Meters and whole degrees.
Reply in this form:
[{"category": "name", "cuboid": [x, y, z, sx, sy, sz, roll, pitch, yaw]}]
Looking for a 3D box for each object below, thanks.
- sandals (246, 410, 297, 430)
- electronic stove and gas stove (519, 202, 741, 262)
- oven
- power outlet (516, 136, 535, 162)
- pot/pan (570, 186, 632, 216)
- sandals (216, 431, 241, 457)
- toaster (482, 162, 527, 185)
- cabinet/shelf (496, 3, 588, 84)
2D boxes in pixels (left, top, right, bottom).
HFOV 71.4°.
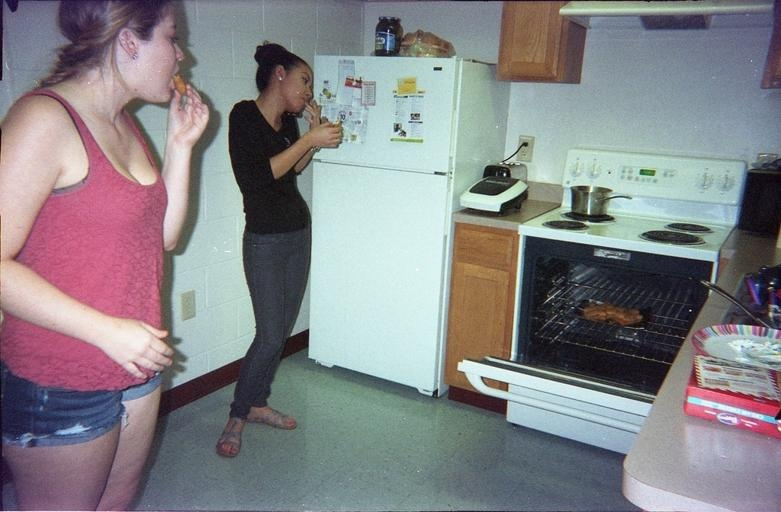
[{"category": "sandals", "cuboid": [-0.606, 0.826, 2.796, 0.280, 0.090, 0.095, 1, 9, 6]}, {"category": "electronic stove and gas stove", "cuboid": [1.205, -0.134, 2.763, 0.888, 0.088, 0.611, 11, 19, 28]}, {"category": "oven", "cuboid": [0.874, 0.425, 2.535, 0.978, 0.995, 1.323, 12, 16, 36]}, {"category": "power outlet", "cuboid": [0.830, -0.652, 3.319, 0.098, 0.155, 0.038, 6, 20, 13]}, {"category": "pot/pan", "cuboid": [1.095, -0.300, 2.873, 0.166, 0.100, 0.287, -9, 18, -31]}, {"category": "sandals", "cuboid": [-0.776, 0.895, 2.586, 0.080, 0.060, 0.138, 6, 3, -13]}, {"category": "toaster", "cuboid": [0.666, -0.524, 3.143, 0.160, 0.142, 0.227, 13, 21, 40]}, {"category": "cabinet/shelf", "cuboid": [0.802, -1.144, 2.920, 0.409, 0.400, 0.498, 9, 19, 20]}]
